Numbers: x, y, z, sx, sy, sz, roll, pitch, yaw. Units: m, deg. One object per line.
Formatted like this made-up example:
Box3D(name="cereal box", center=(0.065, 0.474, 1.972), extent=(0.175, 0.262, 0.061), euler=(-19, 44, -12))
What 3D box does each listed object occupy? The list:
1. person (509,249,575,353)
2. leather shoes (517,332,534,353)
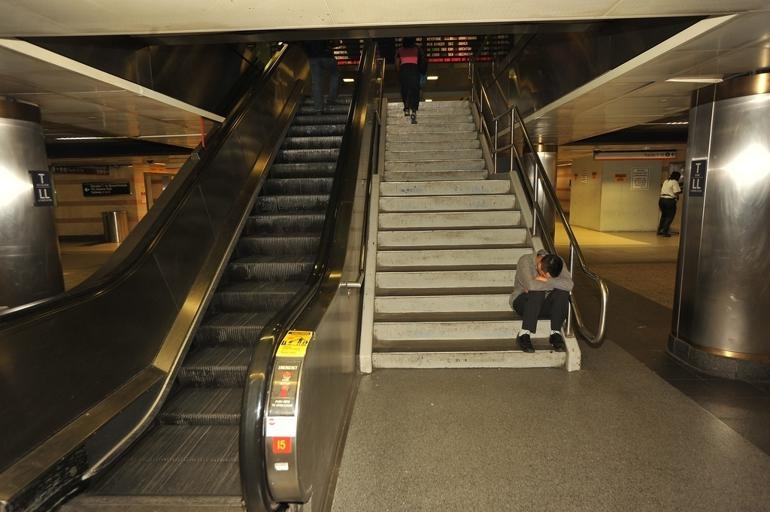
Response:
Box3D(name="person", center=(1.704, 0.415, 5.326), extent=(0.632, 1.149, 0.912), euler=(-1, -29, 4))
Box3D(name="leather shoes", center=(1.510, 0.925, 5.291), extent=(0.105, 0.119, 0.289), euler=(-2, 15, 3))
